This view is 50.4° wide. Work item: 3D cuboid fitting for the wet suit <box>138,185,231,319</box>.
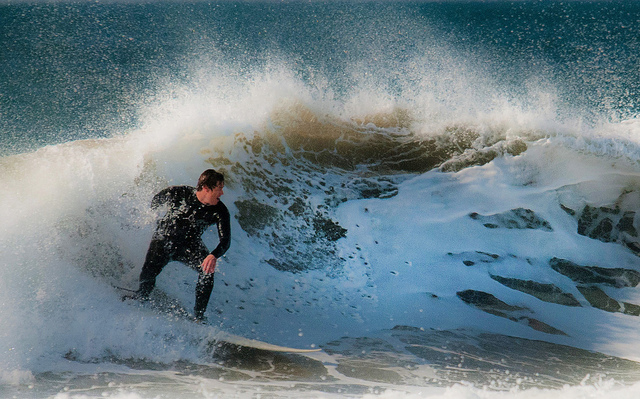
[{"bbox_3d":[-2.703,1.023,13.717,1.766,2.586,0.590,0,-3,-3],"label":"wet suit"}]
